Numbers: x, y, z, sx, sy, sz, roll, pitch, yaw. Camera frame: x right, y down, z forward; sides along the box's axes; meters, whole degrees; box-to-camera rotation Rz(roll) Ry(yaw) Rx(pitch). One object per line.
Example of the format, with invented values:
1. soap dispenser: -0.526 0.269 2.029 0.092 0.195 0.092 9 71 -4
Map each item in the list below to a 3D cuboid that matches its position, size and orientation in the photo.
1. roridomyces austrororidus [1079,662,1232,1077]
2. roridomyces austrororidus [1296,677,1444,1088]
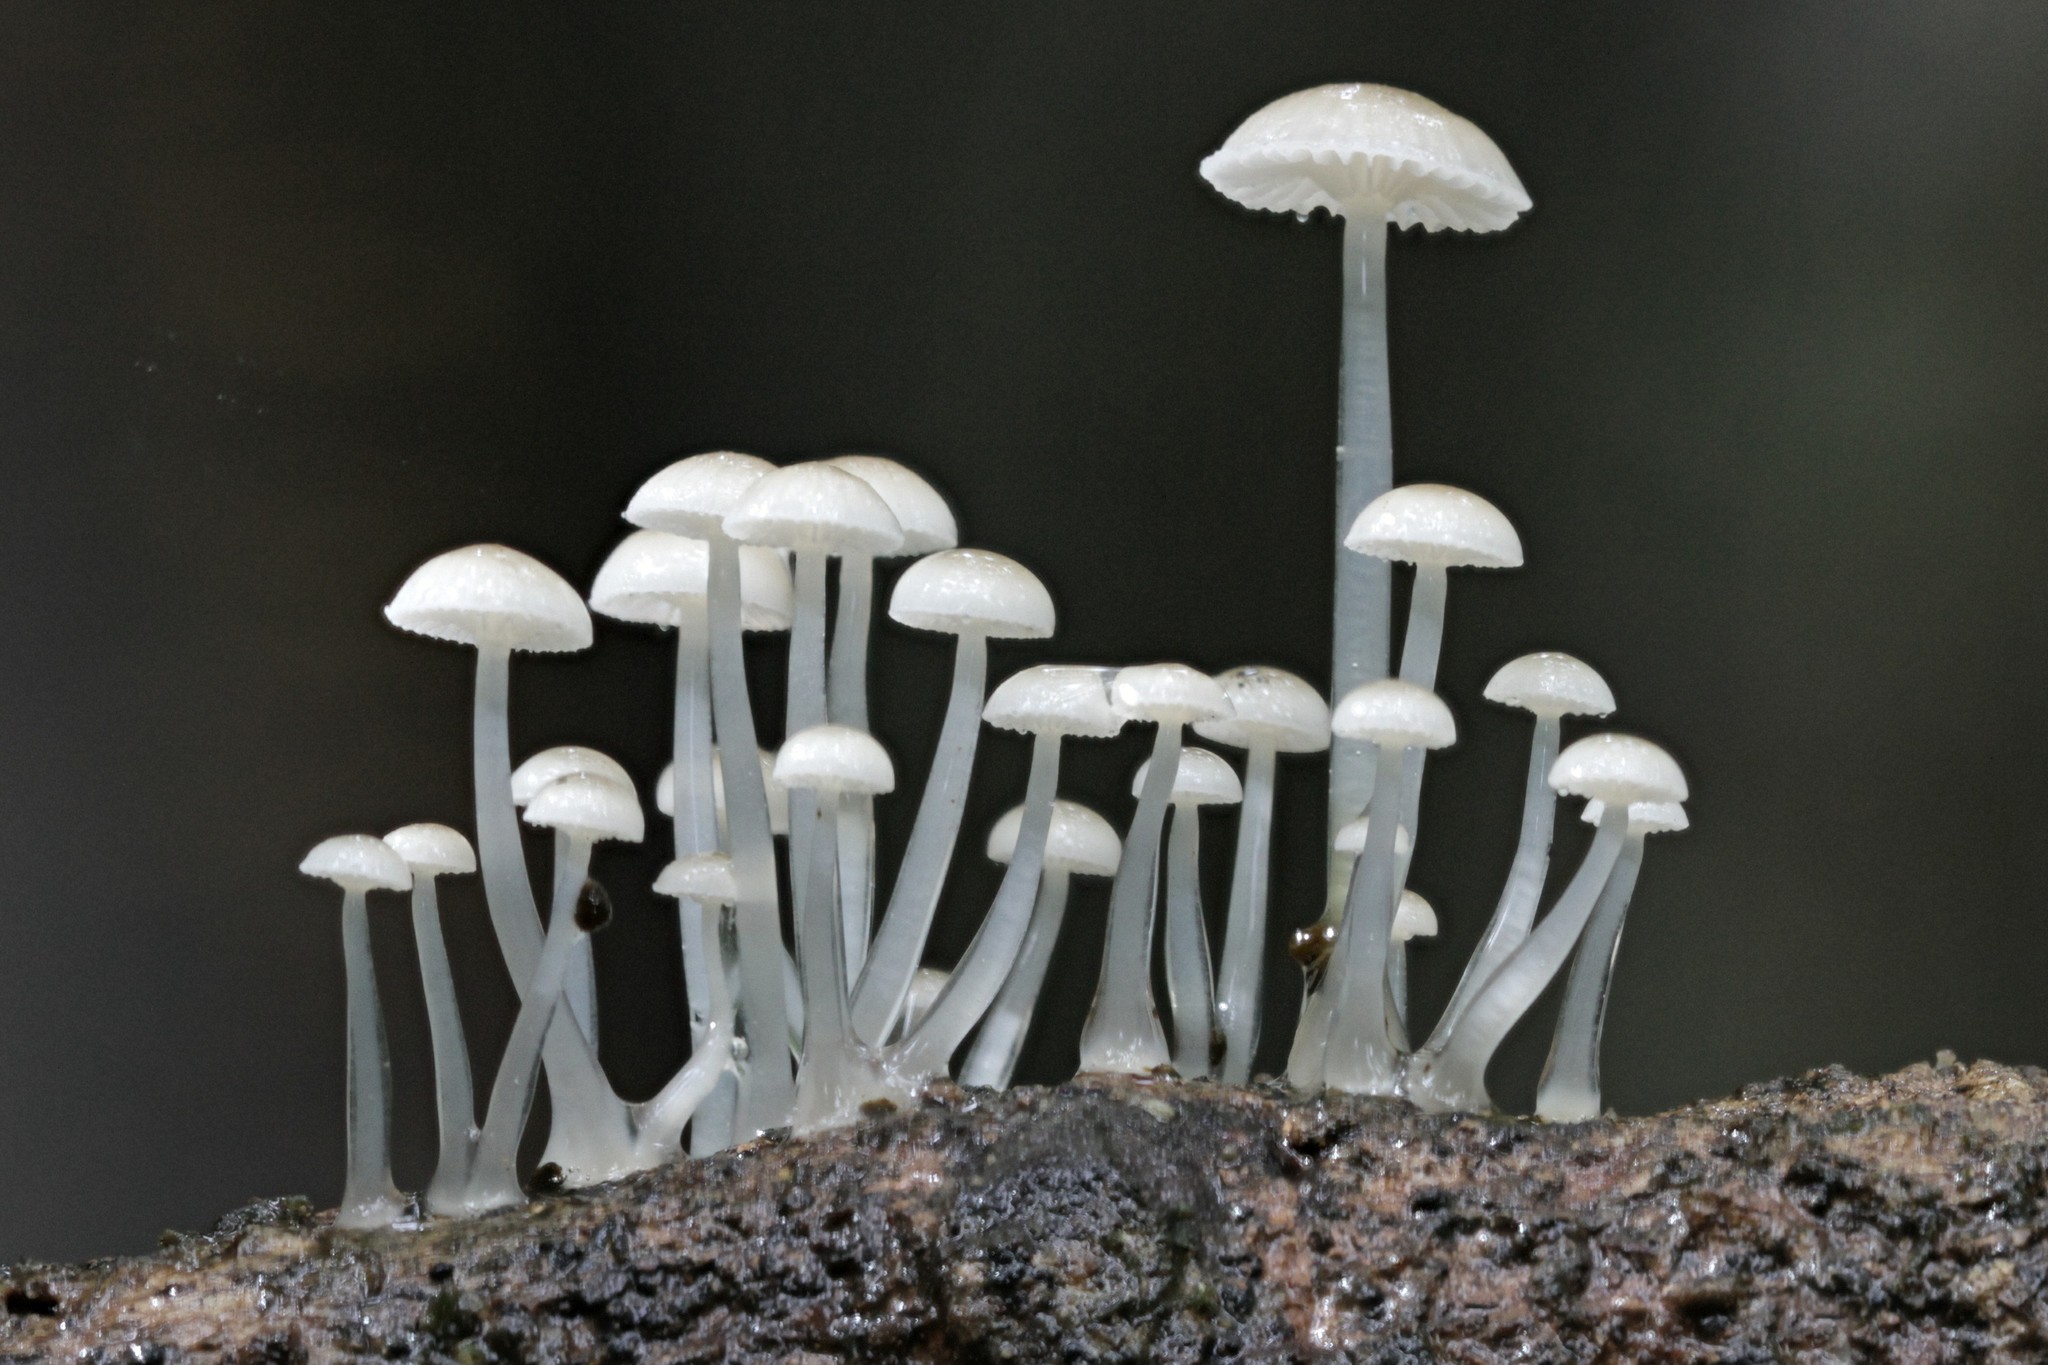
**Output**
1. roridomyces austrororidus: 0.263 0.385 8.616 0.264 0.849 0.257 2 2 1
2. roridomyces austrororidus: 0.707 0.420 8.525 0.305 0.845 0.147 2 2 4
